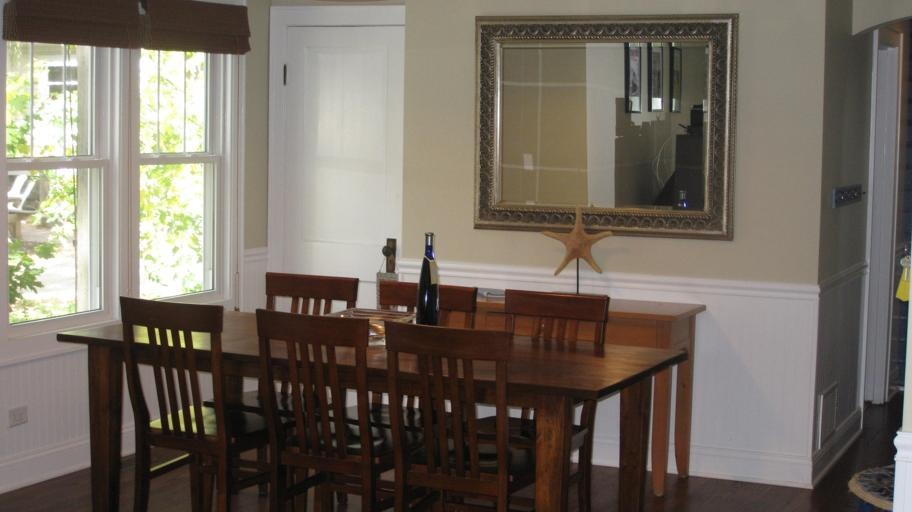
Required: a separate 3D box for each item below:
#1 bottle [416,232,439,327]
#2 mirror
[{"bbox_3d":[-0.166,0.135,4.563,0.118,0.537,0.272,1,8,-4],"label":"bottle"},{"bbox_3d":[1.105,-0.989,5.841,1.937,1.580,0.146,6,17,26],"label":"mirror"}]
